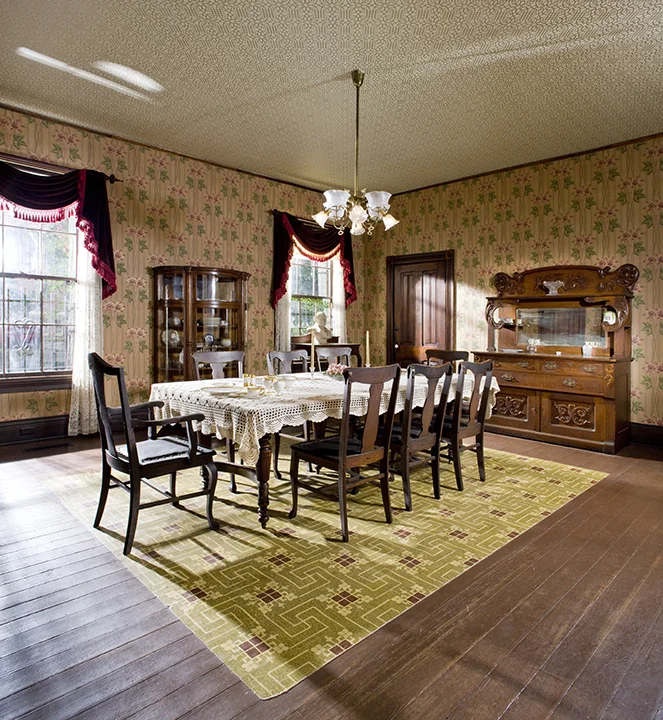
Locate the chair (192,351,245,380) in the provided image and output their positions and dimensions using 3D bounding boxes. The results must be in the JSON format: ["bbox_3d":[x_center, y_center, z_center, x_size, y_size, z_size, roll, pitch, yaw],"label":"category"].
[{"bbox_3d":[-0.956,0.044,4.691,0.296,0.380,0.298,-1,6,-32],"label":"chair"}]

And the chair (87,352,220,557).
[{"bbox_3d":[-0.955,0.459,3.016,0.629,0.882,0.572,-1,5,-31],"label":"chair"}]
